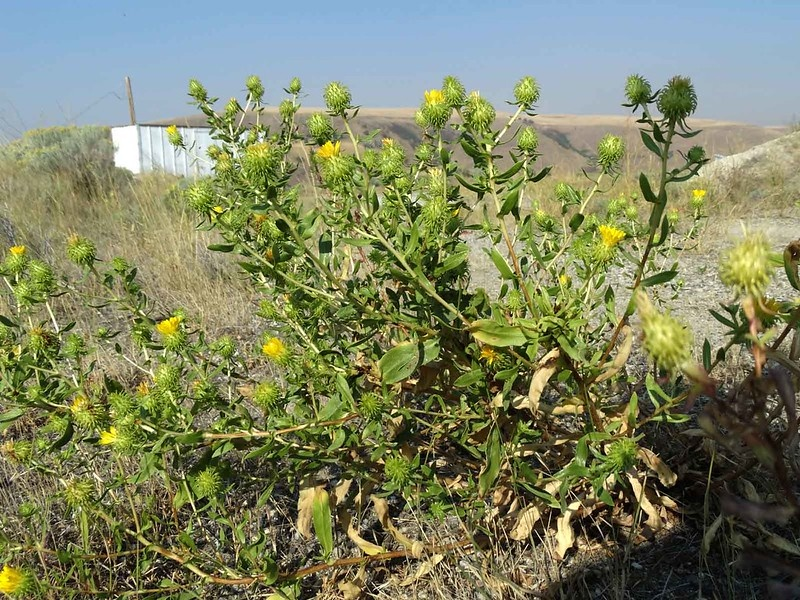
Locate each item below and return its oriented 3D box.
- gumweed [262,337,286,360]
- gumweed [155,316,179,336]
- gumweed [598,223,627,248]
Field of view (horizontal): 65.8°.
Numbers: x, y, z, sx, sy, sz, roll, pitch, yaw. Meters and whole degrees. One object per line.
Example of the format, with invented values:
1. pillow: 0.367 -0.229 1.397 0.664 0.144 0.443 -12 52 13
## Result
1. gumweed: -0.564 0.207 2.789 0.098 0.106 0.071 -16 40 5
2. gumweed: -1.081 0.110 2.887 0.091 0.055 0.091 -29 10 -21
3. gumweed: 0.903 -0.265 2.627 0.092 0.084 0.126 1 20 17
